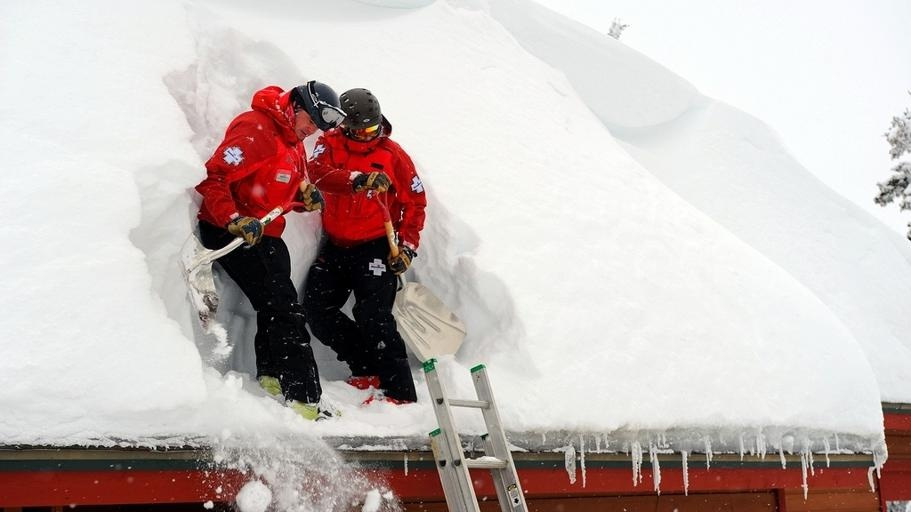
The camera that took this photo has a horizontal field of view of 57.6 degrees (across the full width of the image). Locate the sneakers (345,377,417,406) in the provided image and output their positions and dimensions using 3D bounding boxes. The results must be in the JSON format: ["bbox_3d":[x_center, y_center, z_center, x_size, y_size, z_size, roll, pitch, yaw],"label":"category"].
[{"bbox_3d":[-0.775,1.295,7.997,0.465,0.109,0.296,18,21,17],"label":"sneakers"}]

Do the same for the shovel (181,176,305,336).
[{"bbox_3d":[-1.962,0.041,7.377,1.166,0.566,0.327,-33,20,-24],"label":"shovel"}]

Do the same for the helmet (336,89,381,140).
[{"bbox_3d":[-0.910,-1.338,8.027,0.404,0.473,0.460,-15,-12,-10],"label":"helmet"}]

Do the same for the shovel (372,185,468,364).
[{"bbox_3d":[-0.484,0.268,8.187,0.706,1.895,0.310,-25,2,-22],"label":"shovel"}]

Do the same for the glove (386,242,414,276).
[{"bbox_3d":[-0.530,0.033,8.026,0.297,0.238,0.133,-45,7,-10],"label":"glove"}]

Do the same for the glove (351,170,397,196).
[{"bbox_3d":[-0.757,-0.705,8.019,0.259,0.210,0.476,-11,-10,39],"label":"glove"}]
